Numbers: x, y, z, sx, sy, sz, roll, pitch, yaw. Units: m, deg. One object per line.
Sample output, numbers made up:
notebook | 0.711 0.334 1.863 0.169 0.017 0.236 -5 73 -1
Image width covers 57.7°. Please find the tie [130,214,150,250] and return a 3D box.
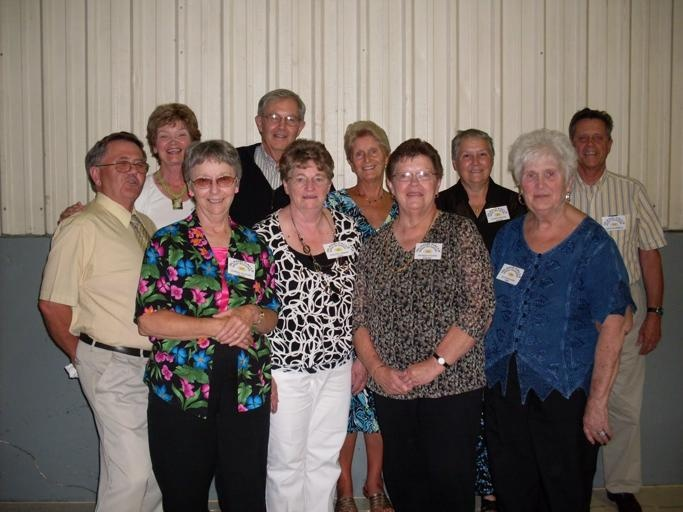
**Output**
tie | -1.463 -0.180 4.510 0.080 0.099 0.376 -21 48 1

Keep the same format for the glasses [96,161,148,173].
glasses | -1.585 -0.641 4.496 0.361 0.084 0.104 -4 5 -22

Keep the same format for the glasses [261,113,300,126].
glasses | -0.493 -1.137 5.169 0.278 0.104 0.058 -3 4 -12
